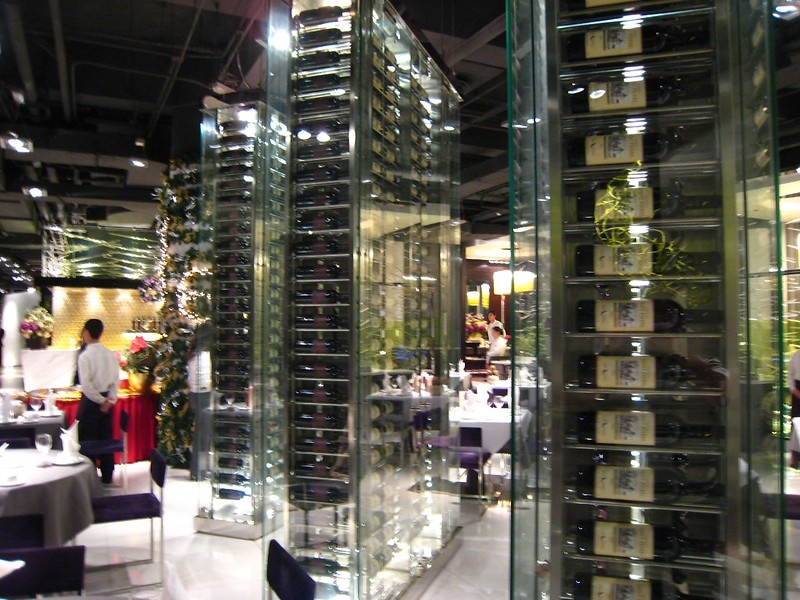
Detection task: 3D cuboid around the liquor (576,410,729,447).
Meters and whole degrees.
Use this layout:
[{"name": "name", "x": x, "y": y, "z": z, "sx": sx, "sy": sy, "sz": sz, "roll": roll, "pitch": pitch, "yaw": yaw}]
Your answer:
[{"name": "liquor", "x": 0.992, "y": 0.524, "z": 2.940, "sx": 0.659, "sy": 0.147, "sz": 0.159, "roll": 1, "pitch": -21, "yaw": 5}]

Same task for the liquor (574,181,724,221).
[{"name": "liquor", "x": 1.010, "y": -0.396, "z": 2.936, "sx": 0.542, "sy": 0.105, "sz": 0.126, "roll": 0, "pitch": -2, "yaw": 23}]

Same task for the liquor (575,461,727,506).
[{"name": "liquor", "x": 1.006, "y": 0.754, "z": 2.907, "sx": 0.589, "sy": 0.132, "sz": 0.143, "roll": 2, "pitch": -15, "yaw": 3}]

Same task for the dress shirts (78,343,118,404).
[{"name": "dress shirts", "x": -2.833, "y": 0.694, "z": 6.721, "sx": 0.365, "sy": 0.592, "sz": 0.290, "roll": 1, "pitch": -7, "yaw": -26}]

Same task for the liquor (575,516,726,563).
[{"name": "liquor", "x": 1.005, "y": 0.991, "z": 2.907, "sx": 0.591, "sy": 0.134, "sz": 0.144, "roll": 3, "pitch": -27, "yaw": 6}]

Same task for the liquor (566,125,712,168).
[{"name": "liquor", "x": 0.961, "y": -0.624, "z": 2.958, "sx": 0.577, "sy": 0.112, "sz": 0.127, "roll": -4, "pitch": 17, "yaw": -5}]
